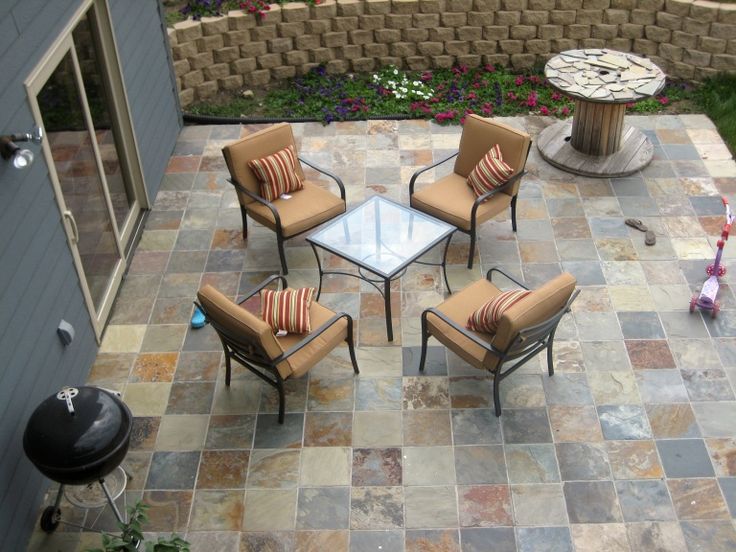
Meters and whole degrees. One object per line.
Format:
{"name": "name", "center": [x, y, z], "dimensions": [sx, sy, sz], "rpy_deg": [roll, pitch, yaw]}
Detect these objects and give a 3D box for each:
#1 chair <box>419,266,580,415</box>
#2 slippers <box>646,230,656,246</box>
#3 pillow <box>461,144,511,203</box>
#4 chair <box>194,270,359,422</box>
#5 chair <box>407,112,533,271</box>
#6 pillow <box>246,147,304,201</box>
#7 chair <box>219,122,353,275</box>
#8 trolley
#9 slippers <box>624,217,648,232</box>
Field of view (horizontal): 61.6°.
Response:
{"name": "chair", "center": [1.031, 0.383, 4.967], "dimensions": [0.826, 0.979, 0.997], "rpy_deg": [-32, 43, -30]}
{"name": "slippers", "center": [2.811, -0.377, 6.164], "dimensions": [0.108, 0.042, 0.138], "rpy_deg": [-2, 47, 9]}
{"name": "pillow", "center": [1.184, -0.987, 5.965], "dimensions": [0.350, 0.410, 0.340], "rpy_deg": [-15, 48, -13]}
{"name": "chair", "center": [-0.705, 0.460, 4.948], "dimensions": [0.843, 0.963, 1.061], "rpy_deg": [25, 40, 27]}
{"name": "chair", "center": [0.972, -0.880, 6.141], "dimensions": [0.912, 1.055, 0.983], "rpy_deg": [24, 49, 29]}
{"name": "pillow", "center": [-0.914, -0.948, 6.079], "dimensions": [0.573, 0.501, 0.175], "rpy_deg": [-29, 17, -39]}
{"name": "chair", "center": [-0.820, -0.798, 6.170], "dimensions": [1.063, 1.019, 0.921], "rpy_deg": [29, 49, 23]}
{"name": "trolley", "center": [-1.931, 1.336, 4.143], "dimensions": [0.769, 1.101, 0.878], "rpy_deg": [8, 37, -16]}
{"name": "slippers", "center": [2.747, -0.525, 6.346], "dimensions": [0.120, 0.055, 0.186], "rpy_deg": [-28, 45, -32]}
